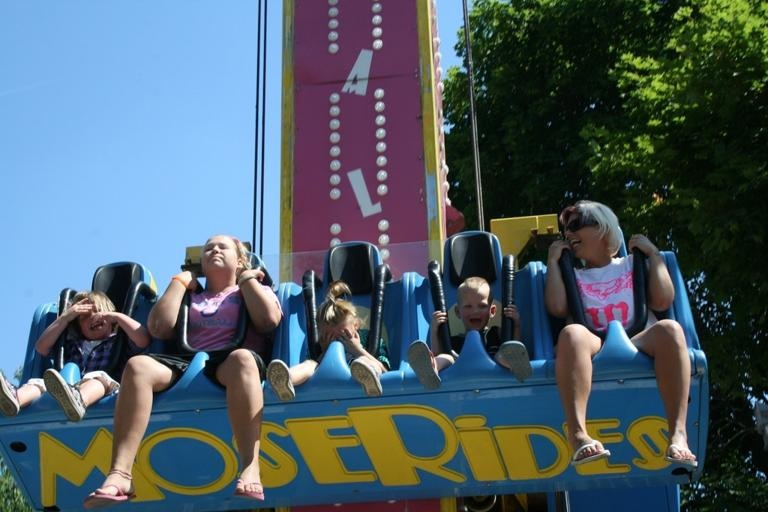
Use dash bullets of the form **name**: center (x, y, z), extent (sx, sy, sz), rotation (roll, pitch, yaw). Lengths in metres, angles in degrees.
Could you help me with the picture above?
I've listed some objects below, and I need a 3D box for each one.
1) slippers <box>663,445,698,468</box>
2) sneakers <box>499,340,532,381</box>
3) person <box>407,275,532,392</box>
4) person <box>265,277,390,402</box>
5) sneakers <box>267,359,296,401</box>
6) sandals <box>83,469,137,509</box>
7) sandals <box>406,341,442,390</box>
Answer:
- **slippers**: center (2.558, 1.741, 10.752), extent (0.251, 0.221, 0.689), rotation (-4, 1, 14)
- **sneakers**: center (1.134, 0.876, 10.721), extent (0.233, 0.368, 0.111), rotation (-24, 18, 14)
- **person**: center (0.801, 0.705, 11.242), extent (0.753, 0.741, 1.094), rotation (-3, -8, 6)
- **person**: center (-0.451, 0.758, 11.331), extent (0.668, 0.723, 1.129), rotation (-5, -3, 6)
- **sneakers**: center (-0.870, 1.073, 10.896), extent (0.190, 0.373, 0.157), rotation (-17, 13, 14)
- **sandals**: center (-2.300, 1.977, 10.532), extent (0.206, 0.209, 0.478), rotation (-17, -17, 20)
- **sandals**: center (0.364, 0.934, 10.835), extent (0.202, 0.466, 0.208), rotation (-19, 10, 12)
